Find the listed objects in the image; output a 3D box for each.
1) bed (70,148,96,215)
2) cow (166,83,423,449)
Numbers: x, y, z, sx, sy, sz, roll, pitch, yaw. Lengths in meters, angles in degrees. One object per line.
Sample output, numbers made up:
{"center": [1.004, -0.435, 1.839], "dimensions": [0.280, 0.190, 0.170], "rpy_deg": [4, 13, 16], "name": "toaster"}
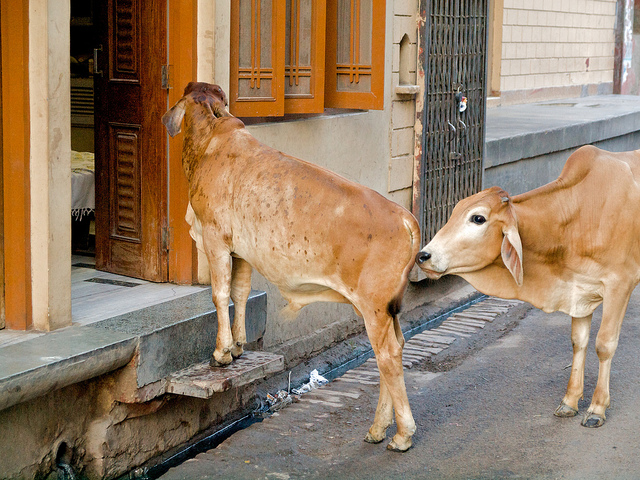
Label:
{"center": [-2.080, -0.482, 8.282], "dimensions": [0.223, 0.588, 0.200], "rpy_deg": [13, 23, 35], "name": "bed"}
{"center": [-0.348, 0.059, 6.499], "dimensions": [2.328, 1.949, 0.639], "rpy_deg": [20, 20, 32], "name": "cow"}
